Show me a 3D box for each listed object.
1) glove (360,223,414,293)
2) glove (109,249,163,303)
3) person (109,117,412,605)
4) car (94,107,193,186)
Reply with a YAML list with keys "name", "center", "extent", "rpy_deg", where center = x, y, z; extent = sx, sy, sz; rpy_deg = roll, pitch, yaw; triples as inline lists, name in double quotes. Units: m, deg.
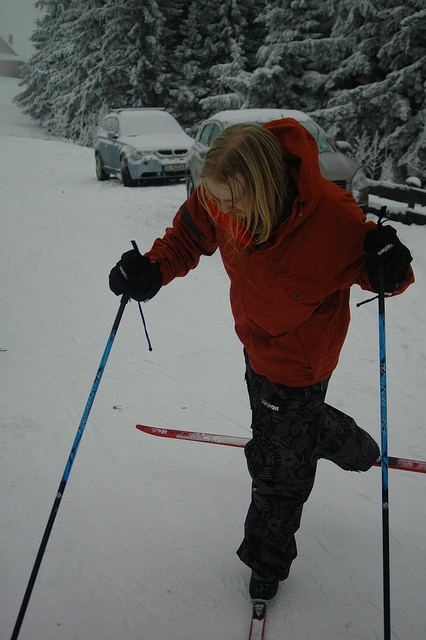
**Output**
- name: "glove"
  center: [0.600, -0.213, 1.996]
  extent: [0.173, 0.237, 0.106]
  rpy_deg: [-34, 26, -12]
- name: "glove"
  center: [-0.313, -0.208, 2.419]
  extent: [0.248, 0.181, 0.110]
  rpy_deg: [27, 21, -18]
- name: "person"
  center: [0.199, 0.173, 2.327]
  extent: [1.013, 1.921, 0.674]
  rpy_deg: [19, 29, 36]
- name: "car"
  center: [-1.329, -3.239, 10.145]
  extent: [1.195, 1.144, 2.354]
  rpy_deg: [-9, 23, -23]
